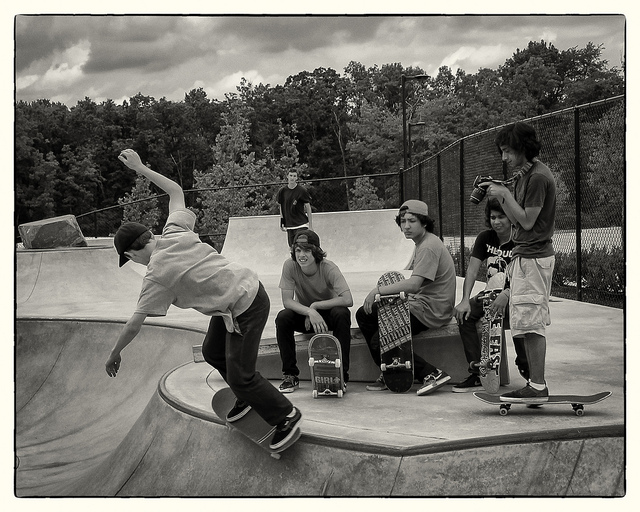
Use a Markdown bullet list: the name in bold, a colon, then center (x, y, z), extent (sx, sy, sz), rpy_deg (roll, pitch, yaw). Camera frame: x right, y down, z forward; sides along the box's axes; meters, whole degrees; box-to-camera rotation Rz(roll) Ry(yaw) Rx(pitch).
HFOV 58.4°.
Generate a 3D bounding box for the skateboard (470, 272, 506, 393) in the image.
- **skateboard**: center (1.370, 0.663, 4.623), extent (0.218, 1.046, 0.137), rpy_deg (-1, 9, -4)

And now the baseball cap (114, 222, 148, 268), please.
- **baseball cap**: center (-1.324, -0.092, 4.026), extent (0.232, 0.287, 0.164), rpy_deg (-10, 10, -20)

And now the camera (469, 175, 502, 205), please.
- **camera**: center (1.254, -0.501, 4.387), extent (0.128, 0.242, 0.213), rpy_deg (25, 10, 4)

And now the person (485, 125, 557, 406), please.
- **person**: center (1.545, 0.078, 4.305), extent (0.463, 2.089, 0.799), rpy_deg (-2, 10, 23)

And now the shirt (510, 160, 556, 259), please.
- **shirt**: center (1.582, -0.342, 4.245), extent (0.321, 0.693, 0.290), rpy_deg (-3, 10, 20)

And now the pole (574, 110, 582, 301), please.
- **pole**: center (3.510, -0.667, 7.760), extent (0.090, 2.537, 0.300), rpy_deg (-1, 10, 28)

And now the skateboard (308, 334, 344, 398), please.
- **skateboard**: center (0.074, 0.888, 4.929), extent (0.311, 0.624, 0.375), rpy_deg (-4, 20, -1)

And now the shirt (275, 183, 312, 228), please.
- **shirt**: center (-0.456, -0.885, 9.978), extent (0.604, 0.741, 0.327), rpy_deg (1, 12, 42)

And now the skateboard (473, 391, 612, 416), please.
- **skateboard**: center (1.649, 1.073, 4.182), extent (0.587, 0.117, 0.175), rpy_deg (-3, -1, 8)

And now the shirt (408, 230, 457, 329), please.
- **shirt**: center (1.069, 0.214, 5.378), extent (0.626, 1.078, 0.582), rpy_deg (-1, 0, 12)

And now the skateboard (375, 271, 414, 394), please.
- **skateboard**: center (0.632, 0.605, 4.834), extent (0.255, 1.127, 0.153), rpy_deg (-6, 19, 4)

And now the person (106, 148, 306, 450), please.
- **person**: center (-0.879, 0.327, 4.098), extent (1.101, 2.270, 1.033), rpy_deg (-5, 18, 24)

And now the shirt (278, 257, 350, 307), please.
- **shirt**: center (-0.055, 0.107, 5.236), extent (0.650, 0.607, 0.384), rpy_deg (-7, -3, 6)
